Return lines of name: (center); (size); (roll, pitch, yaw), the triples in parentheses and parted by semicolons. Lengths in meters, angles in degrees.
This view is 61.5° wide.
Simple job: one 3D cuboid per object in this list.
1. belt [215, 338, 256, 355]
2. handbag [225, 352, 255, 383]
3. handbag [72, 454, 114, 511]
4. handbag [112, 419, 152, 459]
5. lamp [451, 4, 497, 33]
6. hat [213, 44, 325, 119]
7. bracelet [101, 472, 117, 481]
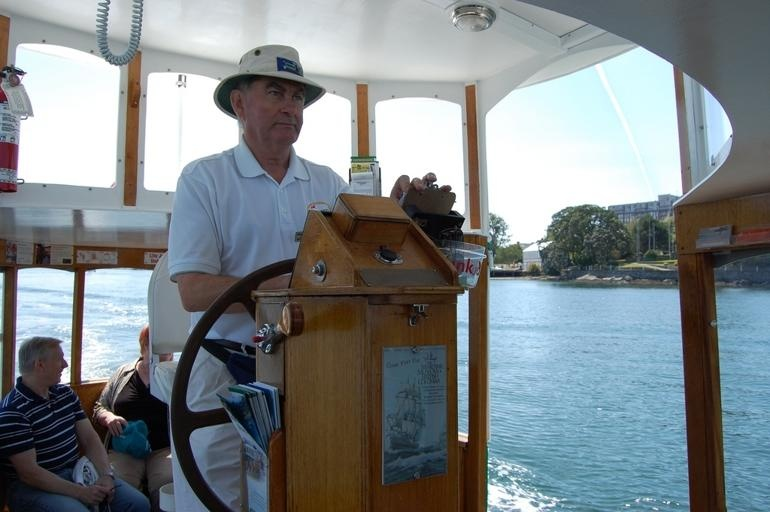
belt: (-0.911, 0.545, 3.963); (0.335, 0.067, 0.042); (13, -3, 25)
handbag: (-0.848, 0.651, 3.878); (0.155, 0.183, 0.063); (15, 32, 24)
handbag: (-2.616, 1.957, 5.754); (0.336, 0.476, 0.164); (20, -50, -35)
handbag: (-2.547, 1.851, 6.495); (0.348, 0.342, 0.178); (8, -3, -5)
lamp: (0.791, -2.079, 5.716); (0.414, 0.185, 0.272); (4, 2, -3)
hat: (-0.754, -1.156, 4.260); (0.718, 0.401, 0.635); (-3, -2, 44)
bracelet: (-2.513, 2.001, 5.903); (0.104, 0.075, 0.111); (-11, -9, -6)
